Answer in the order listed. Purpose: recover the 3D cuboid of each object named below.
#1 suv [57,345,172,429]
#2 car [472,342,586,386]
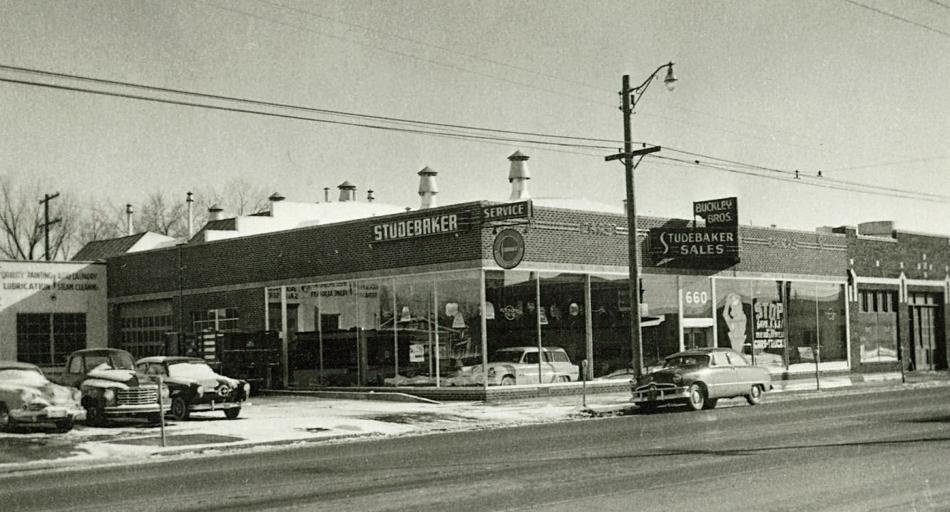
[{"bbox_3d":[-17.187,5.617,53.067,6.380,2.911,3.281,5,6,44],"label":"suv"},{"bbox_3d":[2.513,5.603,58.193,5.561,1.685,2.461,0,-1,-38],"label":"car"}]
